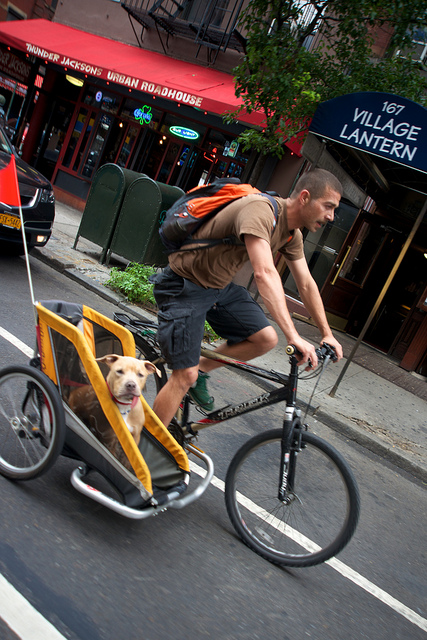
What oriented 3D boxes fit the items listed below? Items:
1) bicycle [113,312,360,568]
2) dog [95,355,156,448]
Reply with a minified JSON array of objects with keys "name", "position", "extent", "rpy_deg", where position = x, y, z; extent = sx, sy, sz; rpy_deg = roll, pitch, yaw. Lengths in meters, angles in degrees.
[{"name":"bicycle","position":[0.271,0.680,2.798],"extent":[1.505,0.944,0.697],"rpy_deg":[21,12,35]},{"name":"dog","position":[-0.477,0.387,2.257],"extent":[0.239,0.448,0.617],"rpy_deg":[8,-5,-17]}]
